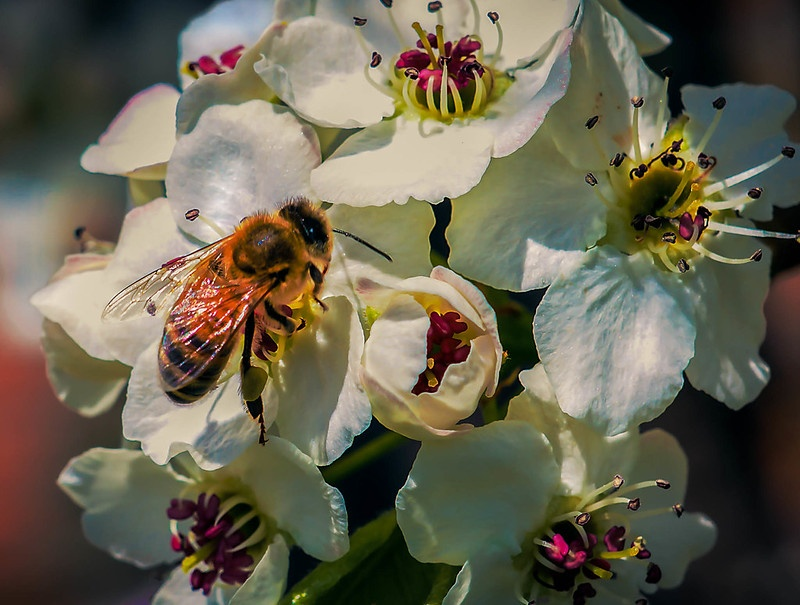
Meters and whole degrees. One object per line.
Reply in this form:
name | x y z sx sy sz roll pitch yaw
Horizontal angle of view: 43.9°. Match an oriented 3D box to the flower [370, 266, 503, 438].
flower | 0.094 0.106 2.175 0.263 0.385 0.212 -20 -11 24
